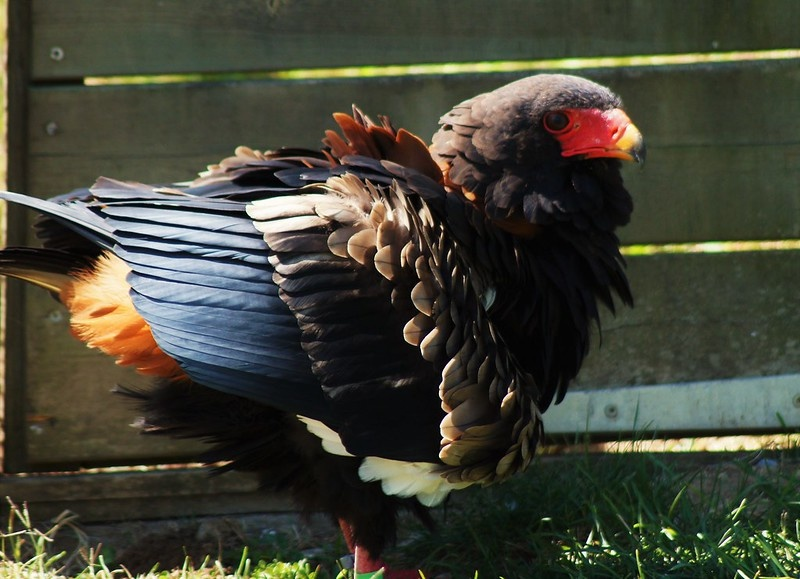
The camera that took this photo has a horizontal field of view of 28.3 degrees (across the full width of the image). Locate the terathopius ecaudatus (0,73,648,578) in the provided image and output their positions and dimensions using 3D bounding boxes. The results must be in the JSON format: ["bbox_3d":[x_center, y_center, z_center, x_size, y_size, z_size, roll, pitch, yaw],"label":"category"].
[{"bbox_3d":[-0.381,0.190,6.619,2.481,1.438,1.087,2,-8,-8],"label":"terathopius ecaudatus"}]
